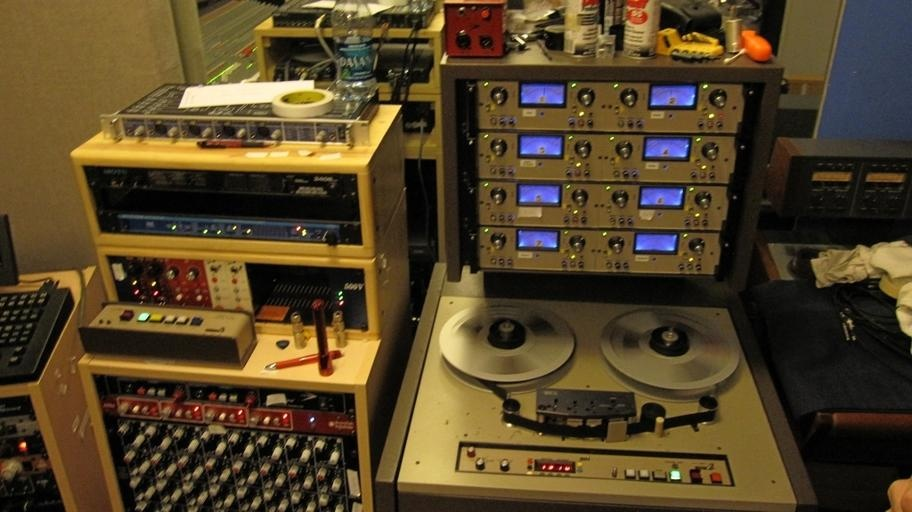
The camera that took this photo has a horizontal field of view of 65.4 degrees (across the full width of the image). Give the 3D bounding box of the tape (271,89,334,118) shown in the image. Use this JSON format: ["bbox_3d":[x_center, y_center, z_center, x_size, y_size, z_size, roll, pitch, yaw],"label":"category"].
[{"bbox_3d":[-0.717,-0.708,3.332,0.286,0.078,0.249,-4,29,-5],"label":"tape"}]
